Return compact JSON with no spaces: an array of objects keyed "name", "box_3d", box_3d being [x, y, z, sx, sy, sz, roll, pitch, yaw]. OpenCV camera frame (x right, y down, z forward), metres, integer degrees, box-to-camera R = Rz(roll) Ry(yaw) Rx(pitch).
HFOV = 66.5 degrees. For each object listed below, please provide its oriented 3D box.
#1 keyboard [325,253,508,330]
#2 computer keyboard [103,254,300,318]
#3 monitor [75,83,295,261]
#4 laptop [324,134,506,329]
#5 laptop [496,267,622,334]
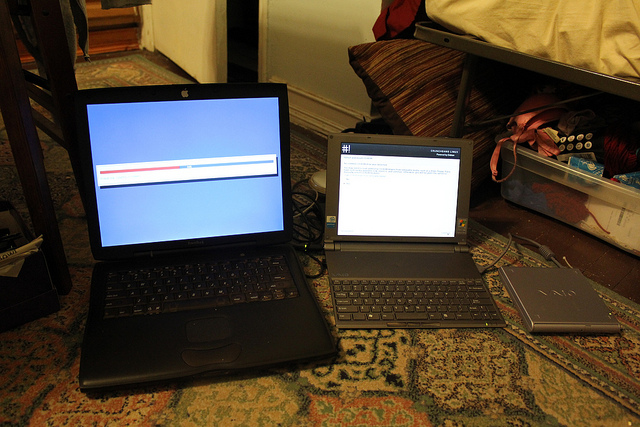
[{"name":"keyboard","box_3d":[0.228,0.188,1.211,0.418,0.090,0.203,-1,32,-3]},{"name":"computer keyboard","box_3d":[-0.277,0.166,1.133,0.437,0.048,0.120,-4,32,-8]},{"name":"monitor","box_3d":[-0.322,-0.101,1.146,0.443,0.320,0.035,-6,7,-5]},{"name":"laptop","box_3d":[0.201,0.087,1.317,0.495,0.307,0.457,2,45,-8]},{"name":"laptop","box_3d":[0.610,0.219,1.239,0.262,0.081,0.182,-1,32,-3]}]
